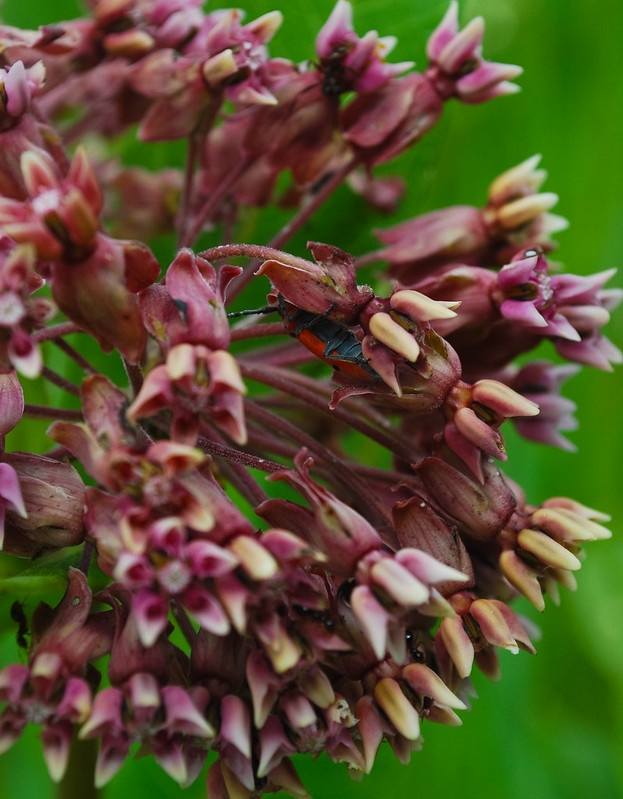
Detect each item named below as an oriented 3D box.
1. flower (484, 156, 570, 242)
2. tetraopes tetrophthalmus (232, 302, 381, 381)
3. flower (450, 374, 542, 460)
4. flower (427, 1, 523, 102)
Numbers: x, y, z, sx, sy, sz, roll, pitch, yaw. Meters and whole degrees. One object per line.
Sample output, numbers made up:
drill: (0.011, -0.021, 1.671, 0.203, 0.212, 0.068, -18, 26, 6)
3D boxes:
flower: (0.243, -0.223, 1.073, 0.093, 0.077, 0.122, -1, 62, 8)
tetraopes tetrophthalmus: (0.007, -0.061, 0.832, 0.095, 0.084, 0.027, 34, 66, -7)
flower: (0.163, 0.017, 0.842, 0.087, 0.027, 0.064, 42, 107, 9)
flower: (0.155, -0.358, 0.972, 0.086, 0.081, 0.115, -15, 61, 2)
